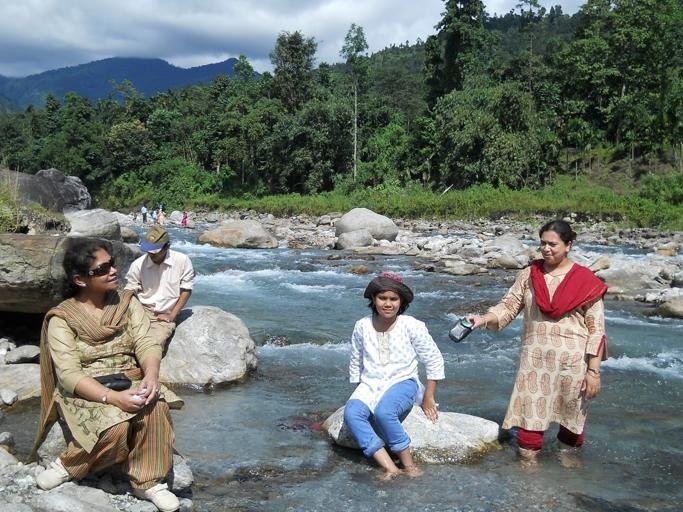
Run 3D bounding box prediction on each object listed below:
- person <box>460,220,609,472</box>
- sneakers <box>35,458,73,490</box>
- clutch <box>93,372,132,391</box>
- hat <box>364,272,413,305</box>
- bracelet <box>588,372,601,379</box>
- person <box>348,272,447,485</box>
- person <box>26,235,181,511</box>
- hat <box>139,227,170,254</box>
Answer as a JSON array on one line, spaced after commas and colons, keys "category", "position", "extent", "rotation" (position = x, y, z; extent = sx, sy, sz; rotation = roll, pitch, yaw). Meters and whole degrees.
[{"category": "person", "position": [1.857, 0.787, 4.747], "extent": [0.957, 2.194, 0.486], "rotation": [4, 10, 26]}, {"category": "sneakers", "position": [-2.195, 1.649, 3.950], "extent": [0.267, 0.200, 0.129], "rotation": [3, 9, 21]}, {"category": "clutch", "position": [-1.749, 0.981, 4.027], "extent": [0.241, 0.093, 0.261], "rotation": [-6, 10, -33]}, {"category": "hat", "position": [0.425, 0.250, 4.810], "extent": [0.373, 0.186, 0.408], "rotation": [-4, -4, -45]}, {"category": "bracelet", "position": [2.177, 1.031, 4.514], "extent": [0.063, 0.034, 0.060], "rotation": [6, -10, -13]}, {"category": "person", "position": [0.459, 1.018, 4.643], "extent": [0.846, 1.655, 0.734], "rotation": [1, 9, 11]}, {"category": "person", "position": [-1.819, 0.890, 4.052], "extent": [1.207, 1.929, 0.852], "rotation": [4, 10, 25]}, {"category": "hat", "position": [-2.192, -0.207, 6.274], "extent": [0.283, 0.212, 0.419], "rotation": [4, 30, 12]}]
